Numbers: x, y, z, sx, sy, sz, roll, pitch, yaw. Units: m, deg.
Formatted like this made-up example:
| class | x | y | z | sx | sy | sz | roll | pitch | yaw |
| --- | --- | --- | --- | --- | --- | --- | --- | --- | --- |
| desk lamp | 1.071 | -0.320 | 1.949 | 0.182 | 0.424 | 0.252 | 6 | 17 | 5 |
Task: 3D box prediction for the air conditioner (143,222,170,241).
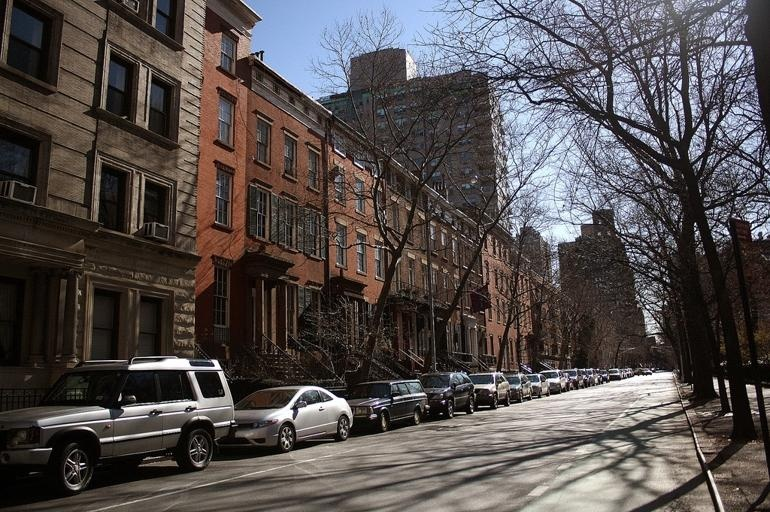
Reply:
| class | x | y | z | sx | sy | sz | roll | pitch | yaw |
| --- | --- | --- | --- | --- | --- | --- | --- | --- | --- |
| air conditioner | -9.004 | -0.976 | 24.053 | 0.396 | 0.659 | 0.986 | -13 | -19 | 32 |
